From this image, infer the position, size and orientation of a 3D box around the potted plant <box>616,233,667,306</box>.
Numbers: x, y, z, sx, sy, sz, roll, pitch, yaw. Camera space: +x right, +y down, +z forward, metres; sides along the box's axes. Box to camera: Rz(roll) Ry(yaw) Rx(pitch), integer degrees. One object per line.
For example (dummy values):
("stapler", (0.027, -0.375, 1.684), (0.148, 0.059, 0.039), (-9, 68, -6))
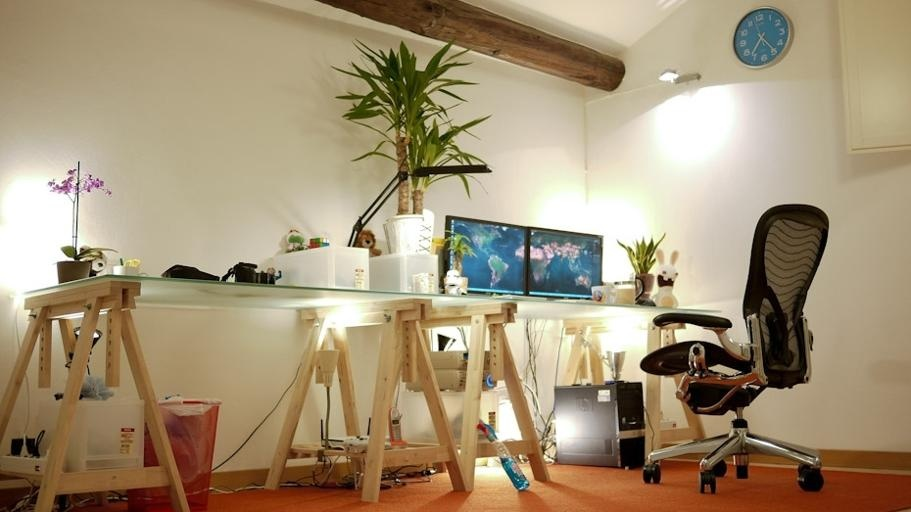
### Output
("potted plant", (1.660, 0.118, 5.633), (0.441, 0.589, 0.395), (-9, 16, -26))

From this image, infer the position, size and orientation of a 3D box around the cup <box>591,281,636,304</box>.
("cup", (1.347, 0.321, 5.409), (0.328, 0.206, 0.198), (-6, -10, 37))

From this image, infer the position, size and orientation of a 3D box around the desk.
("desk", (-0.830, 0.900, 4.366), (3.789, 1.433, 1.277), (3, -4, -29))

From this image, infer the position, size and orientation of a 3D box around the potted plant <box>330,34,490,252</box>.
("potted plant", (-0.483, -0.855, 5.957), (1.689, 2.020, 1.808), (-1, -2, 17))

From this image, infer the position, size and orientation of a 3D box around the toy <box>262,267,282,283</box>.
("toy", (-1.260, 0.138, 4.388), (0.076, 0.104, 0.116), (-8, -12, 40))

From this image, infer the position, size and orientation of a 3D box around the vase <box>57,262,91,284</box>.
("vase", (-2.335, 0.109, 3.977), (0.177, 0.123, 0.161), (-6, -11, 21))

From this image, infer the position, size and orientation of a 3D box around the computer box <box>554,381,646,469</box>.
("computer box", (1.242, 1.409, 5.385), (0.422, 0.620, 0.702), (9, -17, -36))

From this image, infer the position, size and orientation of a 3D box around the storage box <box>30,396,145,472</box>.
("storage box", (-2.138, 0.998, 3.795), (0.603, 0.537, 0.417), (4, -9, -30))

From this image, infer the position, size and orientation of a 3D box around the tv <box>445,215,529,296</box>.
("tv", (0.311, 0.012, 5.340), (0.935, 0.642, 0.074), (7, 10, 43))

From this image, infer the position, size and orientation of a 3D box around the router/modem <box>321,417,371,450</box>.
("router/modem", (-0.725, 1.265, 4.413), (0.314, 0.181, 0.368), (8, -16, -42))

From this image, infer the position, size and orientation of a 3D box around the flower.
("flower", (-2.400, -0.305, 4.111), (0.416, 0.681, 0.362), (3, -3, -25))

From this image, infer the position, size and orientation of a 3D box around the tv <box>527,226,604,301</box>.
("tv", (0.990, 0.069, 5.718), (0.039, 0.606, 0.932), (-1, 4, -35))

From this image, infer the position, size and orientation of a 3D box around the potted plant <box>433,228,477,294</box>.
("potted plant", (0.014, 0.022, 5.141), (0.224, 0.403, 0.246), (17, -11, -9))

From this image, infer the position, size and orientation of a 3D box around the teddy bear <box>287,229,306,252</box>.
("teddy bear", (-1.154, -0.109, 4.675), (0.127, 0.137, 0.137), (-5, 41, -31))

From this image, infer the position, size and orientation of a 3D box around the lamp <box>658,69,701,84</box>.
("lamp", (2.042, -1.631, 5.824), (0.261, 0.057, 0.177), (-2, -2, 12))

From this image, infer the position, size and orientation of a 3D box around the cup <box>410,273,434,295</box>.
("cup", (-0.216, 0.209, 4.646), (0.200, 0.174, 0.135), (6, -12, -34))
